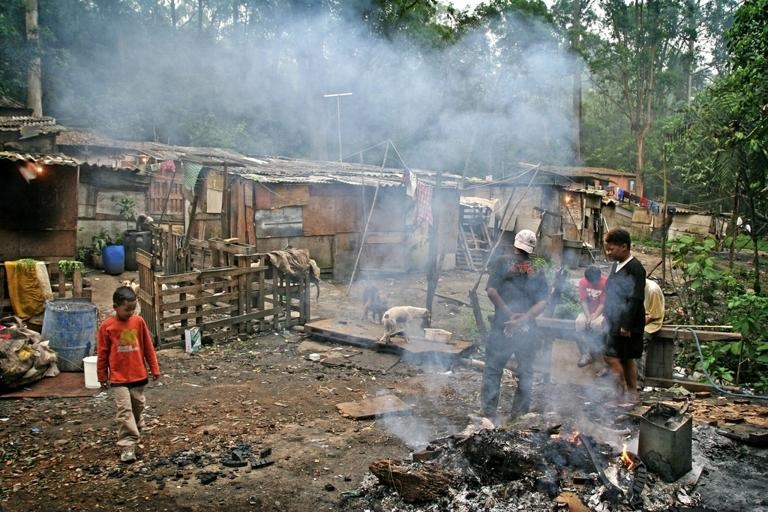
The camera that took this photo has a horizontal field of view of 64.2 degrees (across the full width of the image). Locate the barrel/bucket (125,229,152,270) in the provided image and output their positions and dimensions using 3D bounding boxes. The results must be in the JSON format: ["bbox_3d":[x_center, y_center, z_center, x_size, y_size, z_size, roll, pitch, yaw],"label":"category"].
[{"bbox_3d":[-7.914,-0.176,19.546,0.873,1.275,0.474,2,4,-12],"label":"barrel/bucket"}]

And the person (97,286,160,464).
[{"bbox_3d":[-4.214,1.874,10.095,0.885,2.741,0.679,5,4,34],"label":"person"}]

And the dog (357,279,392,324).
[{"bbox_3d":[-0.266,1.186,15.135,0.549,0.858,0.918,2,3,-18],"label":"dog"}]

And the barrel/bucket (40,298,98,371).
[{"bbox_3d":[-6.046,1.558,12.384,1.327,1.299,1.258,2,0,0],"label":"barrel/bucket"}]

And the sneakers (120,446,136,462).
[{"bbox_3d":[-4.122,3.180,9.851,0.248,0.215,0.210,2,3,-21],"label":"sneakers"}]

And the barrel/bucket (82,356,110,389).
[{"bbox_3d":[-5.440,2.228,11.571,0.446,0.483,0.419,0,-2,0],"label":"barrel/bucket"}]

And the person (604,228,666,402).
[{"bbox_3d":[4.186,1.008,10.773,0.735,3.001,0.492,4,4,23],"label":"person"}]

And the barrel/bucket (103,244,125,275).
[{"bbox_3d":[-8.407,0.096,19.015,0.595,0.920,0.376,1,4,-30],"label":"barrel/bucket"}]

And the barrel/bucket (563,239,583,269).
[{"bbox_3d":[7.120,-0.067,23.241,0.389,1.042,0.909,2,3,-14],"label":"barrel/bucket"}]

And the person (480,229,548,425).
[{"bbox_3d":[2.239,1.179,10.524,1.018,3.269,0.513,3,4,7],"label":"person"}]

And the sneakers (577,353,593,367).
[{"bbox_3d":[4.088,2.110,12.454,0.306,0.101,0.223,-39,27,-23],"label":"sneakers"}]

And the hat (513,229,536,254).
[{"bbox_3d":[2.445,-0.251,10.625,0.324,0.408,0.528,3,3,10],"label":"hat"}]

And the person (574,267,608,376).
[{"bbox_3d":[4.066,1.266,12.045,0.554,2.135,1.534,4,3,18],"label":"person"}]
